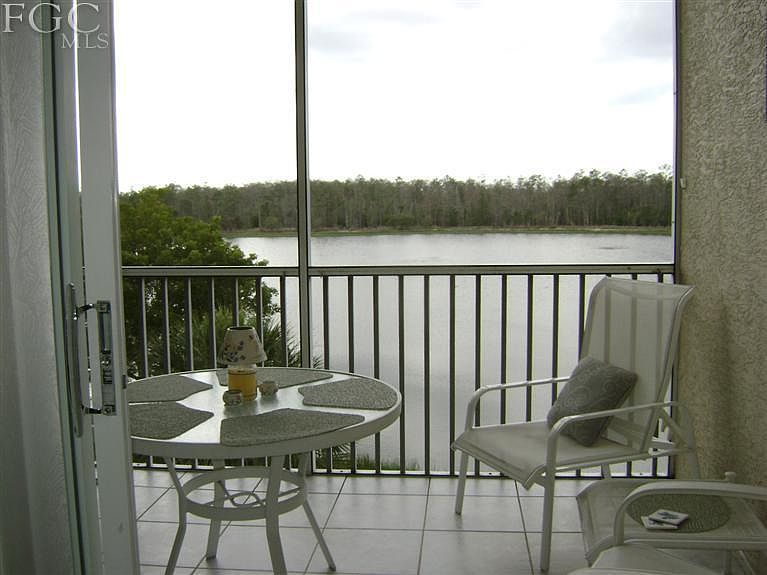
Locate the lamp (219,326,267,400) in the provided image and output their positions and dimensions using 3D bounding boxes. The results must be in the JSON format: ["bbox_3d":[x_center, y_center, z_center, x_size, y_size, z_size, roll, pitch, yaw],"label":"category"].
[{"bbox_3d":[-0.598,0.317,3.265,0.165,0.313,0.172,7,12,39],"label":"lamp"}]

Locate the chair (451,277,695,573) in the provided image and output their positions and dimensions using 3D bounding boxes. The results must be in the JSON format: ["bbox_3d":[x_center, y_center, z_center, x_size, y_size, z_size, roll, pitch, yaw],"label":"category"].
[{"bbox_3d":[0.918,0.511,4.129,1.323,1.673,0.998,-3,8,-23],"label":"chair"}]

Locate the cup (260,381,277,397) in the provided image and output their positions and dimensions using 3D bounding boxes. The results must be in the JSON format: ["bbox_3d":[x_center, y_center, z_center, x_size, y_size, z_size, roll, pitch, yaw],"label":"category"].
[{"bbox_3d":[-0.490,0.426,3.279,0.056,0.043,0.060,0,-1,0],"label":"cup"}]

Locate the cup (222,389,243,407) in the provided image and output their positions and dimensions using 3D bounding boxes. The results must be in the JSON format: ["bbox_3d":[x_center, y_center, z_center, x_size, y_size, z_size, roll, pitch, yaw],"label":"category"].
[{"bbox_3d":[-0.624,0.447,3.174,0.062,0.045,0.064,1,11,0],"label":"cup"}]
